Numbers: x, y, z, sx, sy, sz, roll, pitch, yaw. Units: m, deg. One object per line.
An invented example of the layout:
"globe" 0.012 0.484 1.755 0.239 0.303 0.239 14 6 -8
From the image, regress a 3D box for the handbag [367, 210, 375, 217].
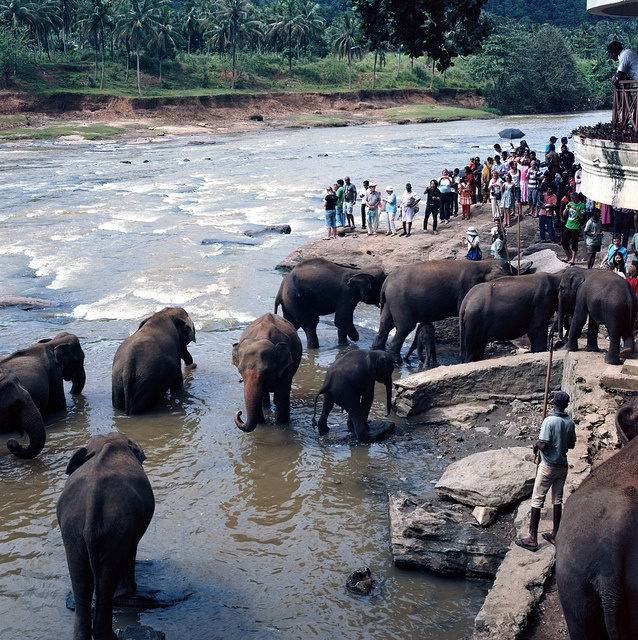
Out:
"handbag" 1.172 -2.439 18.104 0.169 0.187 0.106 1 13 2

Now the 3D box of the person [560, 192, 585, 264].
"person" 4.387 -1.614 14.011 0.334 1.193 1.062 4 13 16

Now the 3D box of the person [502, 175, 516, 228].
"person" 3.857 -2.490 16.609 0.282 1.072 0.708 3 13 11

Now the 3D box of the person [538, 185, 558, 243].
"person" 4.411 -2.079 15.648 0.324 1.064 0.458 3 14 13

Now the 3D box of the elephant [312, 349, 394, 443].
"elephant" 0.359 0.842 9.551 0.756 0.966 0.805 5 13 21

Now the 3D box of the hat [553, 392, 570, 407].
"hat" 1.997 0.629 6.657 0.117 0.080 0.142 6 28 9

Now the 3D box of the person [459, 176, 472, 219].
"person" 3.259 -2.788 18.156 0.251 0.901 0.707 2 13 9

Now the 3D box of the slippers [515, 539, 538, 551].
"slippers" 1.715 1.873 6.701 0.164 0.054 0.063 15 -15 29

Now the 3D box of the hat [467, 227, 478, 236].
"hat" 2.575 -1.518 13.616 0.277 0.131 0.264 6 19 7

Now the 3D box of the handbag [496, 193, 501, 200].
"handbag" 3.711 -2.610 16.765 0.103 0.095 0.093 14 26 36
